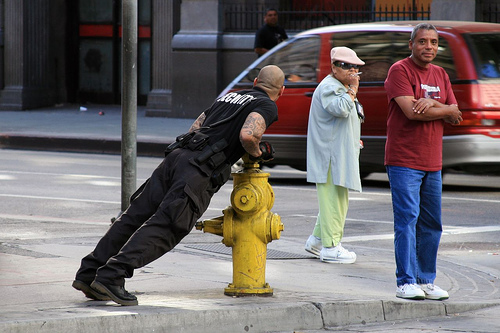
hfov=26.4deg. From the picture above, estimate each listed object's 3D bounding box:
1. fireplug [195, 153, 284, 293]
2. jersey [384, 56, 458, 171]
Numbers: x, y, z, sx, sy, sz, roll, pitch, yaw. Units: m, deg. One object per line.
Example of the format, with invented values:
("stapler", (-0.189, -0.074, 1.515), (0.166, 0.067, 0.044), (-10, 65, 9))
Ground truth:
("fireplug", (-0.060, 0.618, 11.908), (0.837, 1.557, 0.333), (1, 6, 1))
("jersey", (1.947, -0.615, 12.271), (0.803, 1.300, 0.424), (1, 6, 5))
